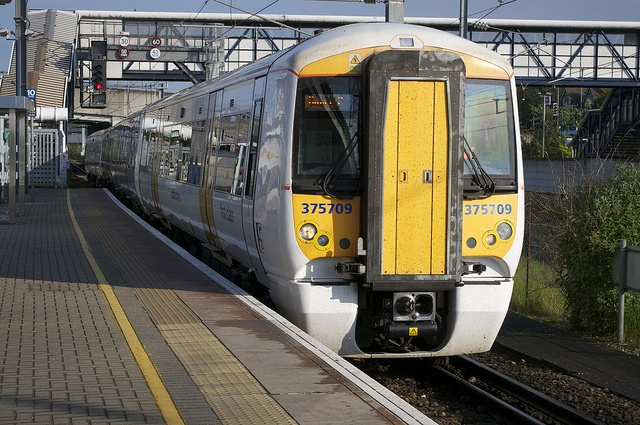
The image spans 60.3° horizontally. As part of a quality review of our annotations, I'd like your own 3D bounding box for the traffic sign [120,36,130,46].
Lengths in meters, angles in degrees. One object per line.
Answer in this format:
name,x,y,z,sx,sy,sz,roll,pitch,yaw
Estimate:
traffic sign,-13.391,-11.730,37.967,0.657,0.869,0.112,1,-13,-5
